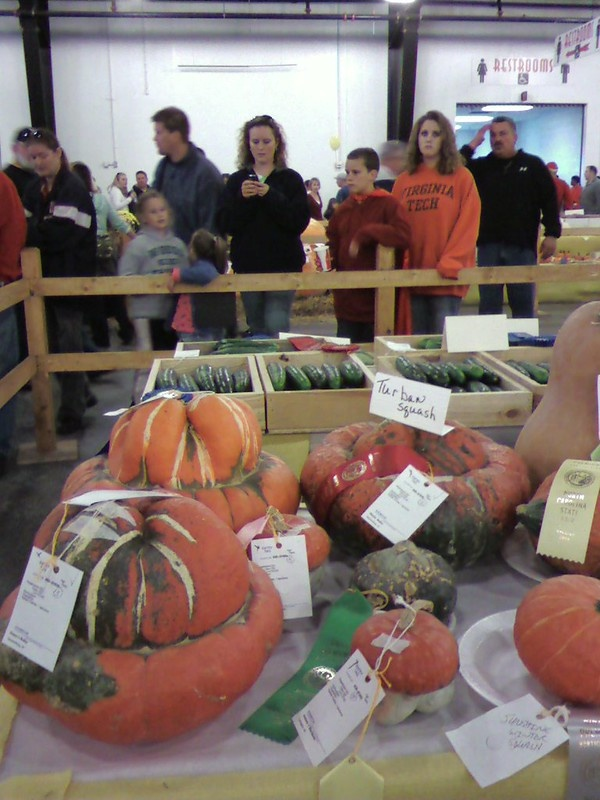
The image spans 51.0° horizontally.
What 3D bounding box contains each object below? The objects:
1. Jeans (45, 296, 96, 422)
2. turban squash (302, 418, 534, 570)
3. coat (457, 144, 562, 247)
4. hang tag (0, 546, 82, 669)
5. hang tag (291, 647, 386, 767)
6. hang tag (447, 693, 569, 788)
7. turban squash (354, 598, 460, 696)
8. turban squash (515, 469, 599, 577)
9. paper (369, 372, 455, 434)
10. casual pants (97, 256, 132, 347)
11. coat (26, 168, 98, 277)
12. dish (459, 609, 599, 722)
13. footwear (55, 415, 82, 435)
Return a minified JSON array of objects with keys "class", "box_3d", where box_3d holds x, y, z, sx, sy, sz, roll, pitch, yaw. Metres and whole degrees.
[{"class":"Jeans","box_3d":[-1.642,-0.355,4.249,0.197,0.712,0.175,-18,-9,43]},{"class":"turban squash","box_3d":[0.190,0.135,1.005,0.286,0.122,0.278,-4,19,-3]},{"class":"coat","box_3d":[1.442,-1.422,4.381,0.803,0.714,0.303,11,24,29]},{"class":"hang tag","box_3d":[-0.253,0.208,0.654,0.084,0.113,0.027,21,6,15]},{"class":"hang tag","box_3d":[0.042,0.328,0.659,0.013,0.121,0.066,33,13,-43]},{"class":"hang tag","box_3d":[0.215,0.353,0.654,0.105,0.047,0.067,-8,17,-16]},{"class":"turban squash","box_3d":[0.118,0.273,0.713,0.104,0.100,0.101,2,5,5]},{"class":"turban squash","box_3d":[0.375,0.175,0.921,0.138,0.134,0.137,7,-3,-20]},{"class":"paper","box_3d":[0.170,0.008,1.023,0.135,0.076,0.048,14,-7,-7]},{"class":"casual pants","box_3d":[-1.685,-1.064,5.613,0.155,0.597,0.163,14,7,-29]},{"class":"coat","box_3d":[-1.531,-1.083,4.041,0.435,0.750,0.516,-12,29,-40]},{"class":"dish","box_3d":[0.261,0.306,0.710,0.143,0.023,0.136,-2,27,2]},{"class":"footwear","box_3d":[-1.553,0.180,4.257,0.128,0.080,0.136,-14,-9,39]}]
